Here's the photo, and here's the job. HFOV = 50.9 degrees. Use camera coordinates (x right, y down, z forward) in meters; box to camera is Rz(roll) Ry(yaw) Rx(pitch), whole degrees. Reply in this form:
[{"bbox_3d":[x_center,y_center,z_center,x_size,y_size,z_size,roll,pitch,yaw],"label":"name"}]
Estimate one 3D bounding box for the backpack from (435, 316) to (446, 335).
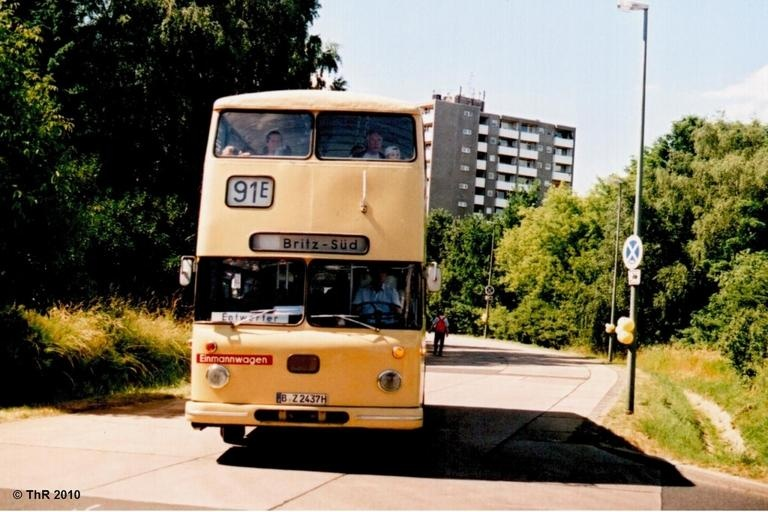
[{"bbox_3d":[2.624,3.250,37.752,0.713,0.953,0.496,1,-3,-5],"label":"backpack"}]
